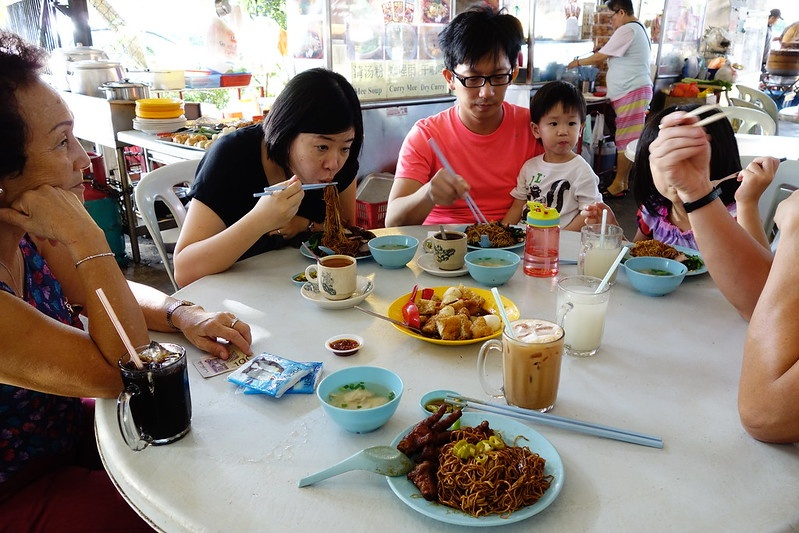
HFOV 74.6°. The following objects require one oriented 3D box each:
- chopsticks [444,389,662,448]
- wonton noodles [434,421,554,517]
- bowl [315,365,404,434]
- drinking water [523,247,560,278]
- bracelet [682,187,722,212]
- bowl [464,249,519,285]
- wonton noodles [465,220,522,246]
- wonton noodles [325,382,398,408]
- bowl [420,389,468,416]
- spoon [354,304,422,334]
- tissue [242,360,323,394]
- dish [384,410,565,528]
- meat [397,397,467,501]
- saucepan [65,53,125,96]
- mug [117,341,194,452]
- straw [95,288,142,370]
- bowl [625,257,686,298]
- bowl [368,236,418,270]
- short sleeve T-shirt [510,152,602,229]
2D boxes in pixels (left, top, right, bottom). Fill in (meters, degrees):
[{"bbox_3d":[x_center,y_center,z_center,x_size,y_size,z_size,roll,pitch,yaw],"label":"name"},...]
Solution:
[{"bbox_3d":[0.388,0.394,1.333,0.457,0.030,0.030,11,47,11],"label":"chopsticks"},{"bbox_3d":[0.202,0.432,1.142,0.178,0.051,0.172,8,34,20],"label":"wonton noodles"},{"bbox_3d":[-0.099,0.334,1.372,0.182,0.078,0.177,-1,22,0],"label":"bowl"},{"bbox_3d":[0.558,-0.011,2.094,0.120,0.084,0.116,-11,20,-25],"label":"drinking water"},{"bbox_3d":[0.990,-0.203,1.708,0.110,0.063,0.105,-35,-23,30],"label":"bracelet"},{"bbox_3d":[0.350,-0.005,2.001,0.164,0.076,0.164,1,22,0],"label":"bowl"},{"bbox_3d":[0.413,-0.137,2.301,0.160,0.041,0.153,-1,18,0],"label":"wonton noodles"},{"bbox_3d":[-0.105,0.343,1.371,0.082,0.020,0.082,7,15,30],"label":"wonton noodles"},{"bbox_3d":[0.097,0.350,1.378,0.070,0.026,0.071,0,10,0],"label":"bowl"},{"bbox_3d":[-0.037,0.178,1.722,0.201,0.028,0.032,19,56,38],"label":"spoon"},{"bbox_3d":[-0.300,0.311,1.467,0.109,0.016,0.113,4,29,7],"label":"tissue"},{"bbox_3d":[0.194,0.447,1.161,0.261,0.044,0.248,-8,28,-10],"label":"dish"},{"bbox_3d":[0.061,0.426,1.228,0.150,0.045,0.198,7,42,-3],"label":"meat"},{"bbox_3d":[-2.900,-1.779,4.926,0.477,0.321,0.348,-10,21,-42],"label":"saucepan"},{"bbox_3d":[-0.597,0.324,1.354,0.164,0.220,0.250,4,21,8],"label":"mug"},{"bbox_3d":[-0.784,0.180,1.445,0.028,0.226,0.031,-17,7,30],"label":"straw"},{"bbox_3d":[0.931,0.030,1.918,0.185,0.083,0.175,-2,22,1],"label":"bowl"},{"bbox_3d":[-0.034,-0.067,2.146,0.164,0.074,0.160,-1,20,0],"label":"bowl"},{"bbox_3d":[0.868,-0.424,2.959,0.583,0.437,0.241,1,13,4],"label":"short sleeve T-shirt"}]
